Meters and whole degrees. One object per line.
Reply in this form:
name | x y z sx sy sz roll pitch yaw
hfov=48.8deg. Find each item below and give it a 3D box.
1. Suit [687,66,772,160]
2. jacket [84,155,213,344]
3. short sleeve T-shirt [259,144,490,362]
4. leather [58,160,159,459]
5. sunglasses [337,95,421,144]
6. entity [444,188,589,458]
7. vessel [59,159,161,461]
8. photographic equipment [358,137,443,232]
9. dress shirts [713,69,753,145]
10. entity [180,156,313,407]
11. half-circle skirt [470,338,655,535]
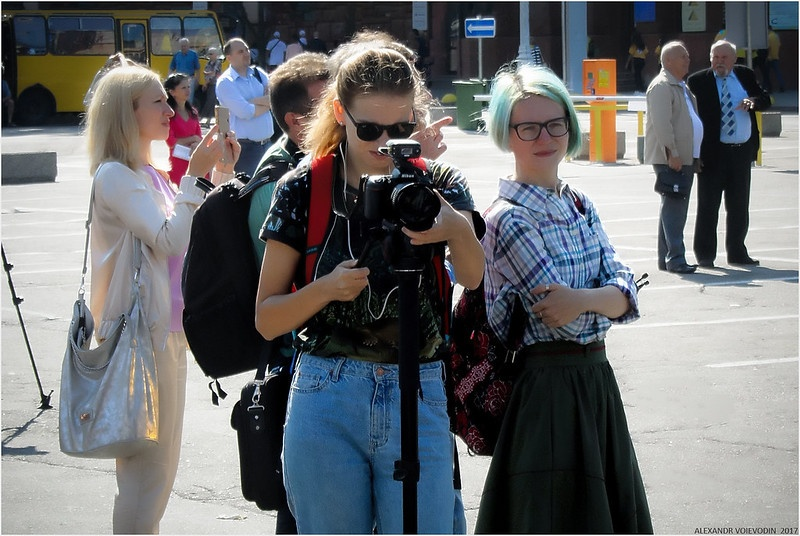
Suit | 4.095 -2.017 10.906 0.797 0.968 0.547 3 38 25
jacket | -1.360 -0.168 5.573 0.886 1.423 0.969 -3 6 -8
short sleeve T-shirt | -0.105 -0.091 3.898 0.940 0.942 0.523 -5 14 -2
leather | -1.592 0.427 4.773 0.499 1.149 0.383 -2 6 -19
sunglasses | -0.089 -0.617 3.743 0.311 0.158 0.113 -1 6 -4
entity | 0.709 0.393 4.734 0.676 1.261 0.863 16 25 18
vessel | -1.610 0.312 4.736 0.428 1.205 0.215 6 13 -4
photographic equipment | 0.015 -0.328 3.572 0.313 0.312 0.332 -5 15 -10
dress shirts | 4.091 -1.976 10.835 0.465 0.874 0.290 -2 -1 0
entity | -0.821 0.052 4.967 0.813 1.496 1.007 2 6 19
half-circle skirt | 0.677 0.860 4.667 1.065 1.085 0.868 1 -7 -8
